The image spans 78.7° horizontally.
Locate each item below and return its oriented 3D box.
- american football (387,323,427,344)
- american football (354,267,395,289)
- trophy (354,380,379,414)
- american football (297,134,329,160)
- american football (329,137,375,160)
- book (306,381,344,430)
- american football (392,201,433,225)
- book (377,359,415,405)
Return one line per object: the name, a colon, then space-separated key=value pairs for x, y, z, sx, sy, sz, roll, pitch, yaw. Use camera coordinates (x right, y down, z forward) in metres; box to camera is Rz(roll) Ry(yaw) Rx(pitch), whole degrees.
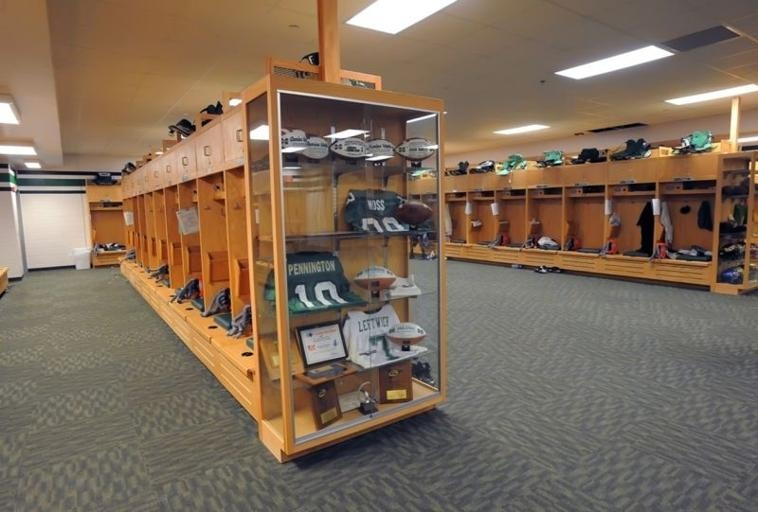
american football: x=0.305 y=0.786 z=4.733 sx=0.347 sy=0.181 sz=0.191 roll=-2 pitch=32 yaw=1
american football: x=-0.036 y=0.217 z=4.738 sx=0.369 sy=0.191 sz=0.214 roll=0 pitch=8 yaw=-1
trophy: x=-0.112 y=1.439 z=4.694 sx=0.231 sy=0.292 sz=0.186 roll=7 pitch=-7 yaw=-26
american football: x=-0.595 y=-1.039 z=4.414 sx=0.203 sy=0.080 sz=0.253 roll=3 pitch=-2 yaw=-18
american football: x=-0.280 y=-1.074 z=4.576 sx=0.382 sy=0.208 sz=0.092 roll=-6 pitch=11 yaw=-23
book: x=-0.520 y=1.419 z=4.451 sx=0.049 sy=0.412 sz=0.340 roll=-16 pitch=-6 yaw=31
american football: x=0.351 y=-0.445 z=4.740 sx=0.346 sy=0.210 sz=0.187 roll=2 pitch=53 yaw=7
book: x=0.187 y=1.309 z=4.917 sx=0.394 sy=0.460 sz=0.447 roll=-1 pitch=-2 yaw=-36
